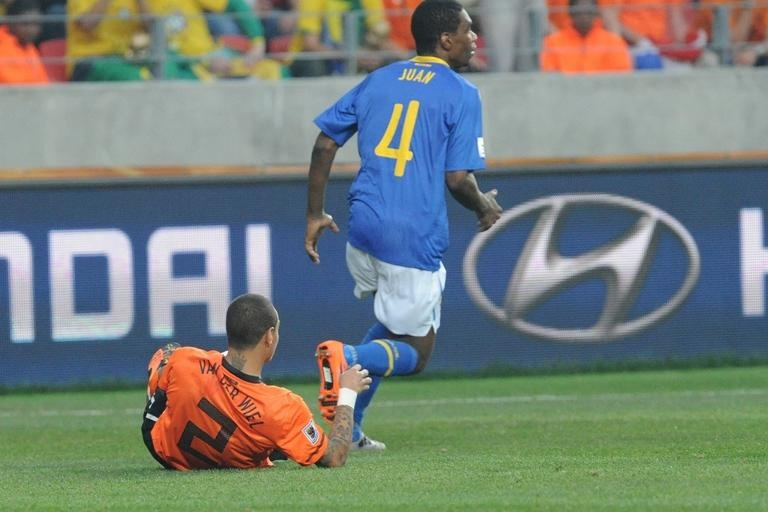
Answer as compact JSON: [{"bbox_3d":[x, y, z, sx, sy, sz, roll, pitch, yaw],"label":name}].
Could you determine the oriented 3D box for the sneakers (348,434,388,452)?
[{"bbox_3d":[-0.150,1.649,17.306,0.350,0.125,0.118,2,4,-18],"label":"sneakers"}]

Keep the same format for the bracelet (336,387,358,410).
[{"bbox_3d":[-0.326,1.213,16.838,0.169,0.164,0.173,10,1,17],"label":"bracelet"}]

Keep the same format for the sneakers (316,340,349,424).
[{"bbox_3d":[-0.443,1.048,16.878,0.263,0.656,0.299,1,-7,24],"label":"sneakers"}]

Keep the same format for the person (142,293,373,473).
[{"bbox_3d":[-1.233,1.163,17.639,1.106,1.238,0.734,18,44,1],"label":"person"}]
